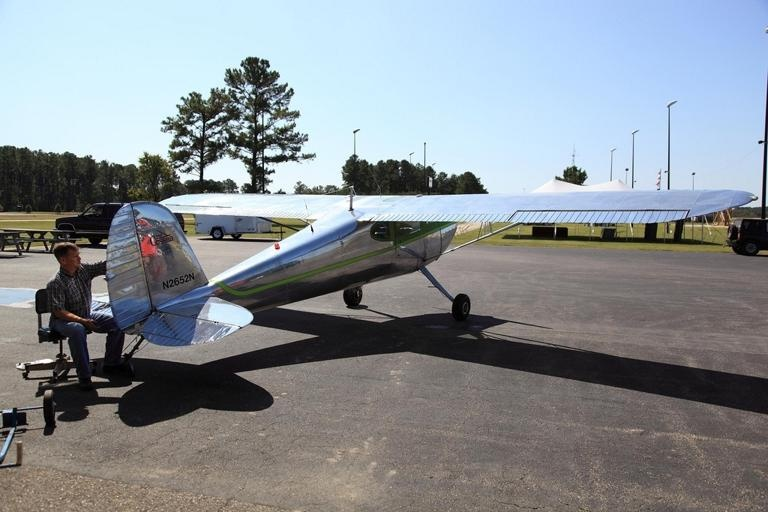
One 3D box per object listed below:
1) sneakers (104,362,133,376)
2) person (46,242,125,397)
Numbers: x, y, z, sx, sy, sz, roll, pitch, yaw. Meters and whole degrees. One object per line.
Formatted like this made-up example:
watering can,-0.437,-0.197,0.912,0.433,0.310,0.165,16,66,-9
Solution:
sneakers,-4.149,1.767,8.619,0.511,0.205,0.186,0,6,-3
person,-4.504,0.835,8.252,0.819,2.099,0.989,3,14,12
